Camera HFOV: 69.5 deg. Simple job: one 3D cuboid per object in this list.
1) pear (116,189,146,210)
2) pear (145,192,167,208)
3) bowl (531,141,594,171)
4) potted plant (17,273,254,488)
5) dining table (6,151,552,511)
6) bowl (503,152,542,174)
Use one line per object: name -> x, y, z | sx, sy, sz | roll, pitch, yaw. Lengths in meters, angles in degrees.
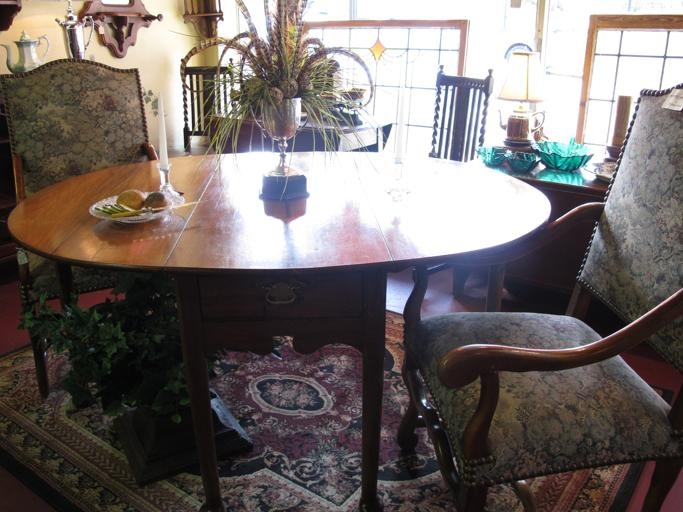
pear -> -0.625, -0.169, 1.474 | 0.073, 0.059, 0.056 | 3, 7, -13
pear -> -0.551, -0.164, 1.464 | 0.050, 0.050, 0.048 | 2, 11, 5
bowl -> 1.220, -0.512, 2.617 | 0.276, 0.109, 0.285 | 0, 13, 0
potted plant -> -0.682, 0.441, 1.778 | 0.497, 0.547, 0.408 | 7, 10, 18
dining table -> -0.128, -0.002, 1.885 | 1.800, 0.920, 1.242 | 0, 38, 0
bowl -> 0.940, -0.493, 2.556 | 0.145, 0.059, 0.148 | -1, 35, 1
